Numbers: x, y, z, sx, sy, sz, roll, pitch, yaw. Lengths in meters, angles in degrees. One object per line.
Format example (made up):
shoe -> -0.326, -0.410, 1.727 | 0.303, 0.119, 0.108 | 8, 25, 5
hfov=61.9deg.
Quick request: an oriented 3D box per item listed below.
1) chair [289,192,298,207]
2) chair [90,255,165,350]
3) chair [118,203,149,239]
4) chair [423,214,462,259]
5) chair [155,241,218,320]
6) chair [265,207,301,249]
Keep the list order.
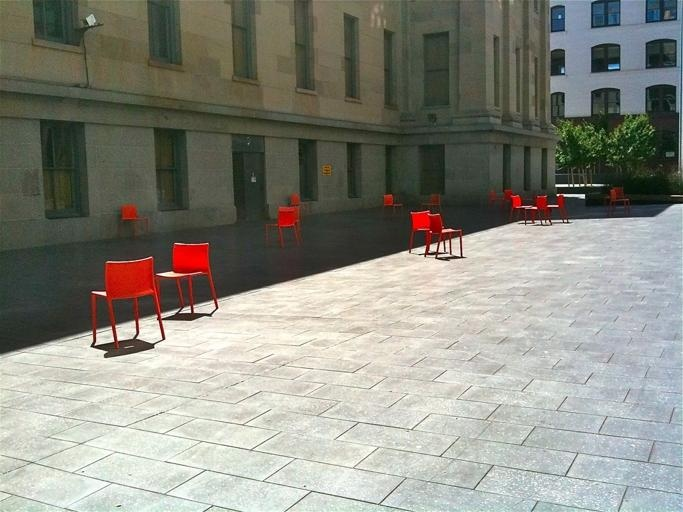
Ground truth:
chair -> -2.296, -2.718, 27.544 | 0.492, 0.643, 1.362 | -2, 9, -5
chair -> -3.070, 0.649, 8.097 | 0.776, 1.224, 0.813 | 5, 9, 34
chair -> -7.294, -1.198, 20.094 | 0.883, 1.065, 0.922 | -2, 8, -25
chair -> 2.662, -0.556, 15.092 | 0.887, 1.113, 0.848 | -1, 9, -5
chair -> -2.593, 0.403, 9.483 | 0.728, 1.185, 0.737 | -1, 5, 14
chair -> -1.740, -0.894, 17.339 | 0.701, 1.105, 0.757 | -6, 4, -32
